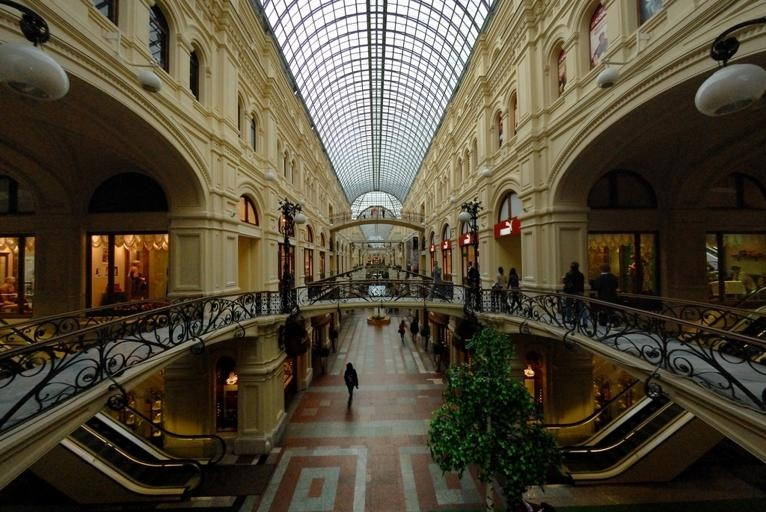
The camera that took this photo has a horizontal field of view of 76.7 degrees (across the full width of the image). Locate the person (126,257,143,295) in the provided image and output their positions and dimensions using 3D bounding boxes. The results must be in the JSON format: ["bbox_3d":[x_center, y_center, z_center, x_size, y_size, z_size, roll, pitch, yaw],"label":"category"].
[{"bbox_3d":[-8.573,0.806,16.639,0.496,1.279,0.351,-4,13,-11],"label":"person"}]

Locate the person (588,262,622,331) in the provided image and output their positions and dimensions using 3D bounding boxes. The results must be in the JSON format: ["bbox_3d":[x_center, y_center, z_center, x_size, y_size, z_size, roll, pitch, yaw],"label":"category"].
[{"bbox_3d":[6.667,1.217,14.369,0.693,1.731,1.380,4,15,23],"label":"person"}]

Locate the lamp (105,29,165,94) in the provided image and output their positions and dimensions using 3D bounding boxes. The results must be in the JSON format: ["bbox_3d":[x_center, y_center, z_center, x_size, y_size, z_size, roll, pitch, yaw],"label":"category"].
[{"bbox_3d":[-7.136,-5.574,13.721,1.285,1.726,1.633,-9,15,-27],"label":"lamp"}]

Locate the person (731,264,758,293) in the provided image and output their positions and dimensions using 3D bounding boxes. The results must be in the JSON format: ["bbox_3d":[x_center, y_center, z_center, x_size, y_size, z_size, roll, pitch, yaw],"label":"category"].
[{"bbox_3d":[12.977,0.802,17.344,0.734,1.041,0.370,1,-3,1],"label":"person"}]

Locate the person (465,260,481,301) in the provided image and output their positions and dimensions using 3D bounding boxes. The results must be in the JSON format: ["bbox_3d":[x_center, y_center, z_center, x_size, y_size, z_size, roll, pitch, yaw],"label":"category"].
[{"bbox_3d":[3.349,0.948,17.674,0.310,1.411,0.951,-3,13,-8],"label":"person"}]

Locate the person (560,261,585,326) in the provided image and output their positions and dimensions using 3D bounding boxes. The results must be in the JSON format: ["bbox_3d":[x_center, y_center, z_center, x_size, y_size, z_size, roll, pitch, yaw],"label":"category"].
[{"bbox_3d":[5.873,1.171,14.850,0.585,1.734,1.312,3,14,20],"label":"person"}]

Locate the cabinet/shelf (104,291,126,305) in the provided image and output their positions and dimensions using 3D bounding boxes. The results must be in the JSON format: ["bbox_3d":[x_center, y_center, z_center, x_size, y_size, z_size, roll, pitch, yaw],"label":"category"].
[{"bbox_3d":[-9.270,1.420,16.726,0.743,0.710,0.419,1,-7,-16],"label":"cabinet/shelf"}]

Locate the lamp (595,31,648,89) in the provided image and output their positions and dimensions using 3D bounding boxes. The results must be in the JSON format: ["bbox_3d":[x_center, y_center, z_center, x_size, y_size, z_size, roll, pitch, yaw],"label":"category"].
[{"bbox_3d":[7.020,-5.772,14.099,1.234,1.607,1.647,6,15,27],"label":"lamp"}]

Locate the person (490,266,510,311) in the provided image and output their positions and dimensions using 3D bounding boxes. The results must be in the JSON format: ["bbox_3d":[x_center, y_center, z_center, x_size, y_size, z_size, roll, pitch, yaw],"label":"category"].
[{"bbox_3d":[4.211,1.196,17.422,0.562,1.264,1.555,1,14,12],"label":"person"}]
